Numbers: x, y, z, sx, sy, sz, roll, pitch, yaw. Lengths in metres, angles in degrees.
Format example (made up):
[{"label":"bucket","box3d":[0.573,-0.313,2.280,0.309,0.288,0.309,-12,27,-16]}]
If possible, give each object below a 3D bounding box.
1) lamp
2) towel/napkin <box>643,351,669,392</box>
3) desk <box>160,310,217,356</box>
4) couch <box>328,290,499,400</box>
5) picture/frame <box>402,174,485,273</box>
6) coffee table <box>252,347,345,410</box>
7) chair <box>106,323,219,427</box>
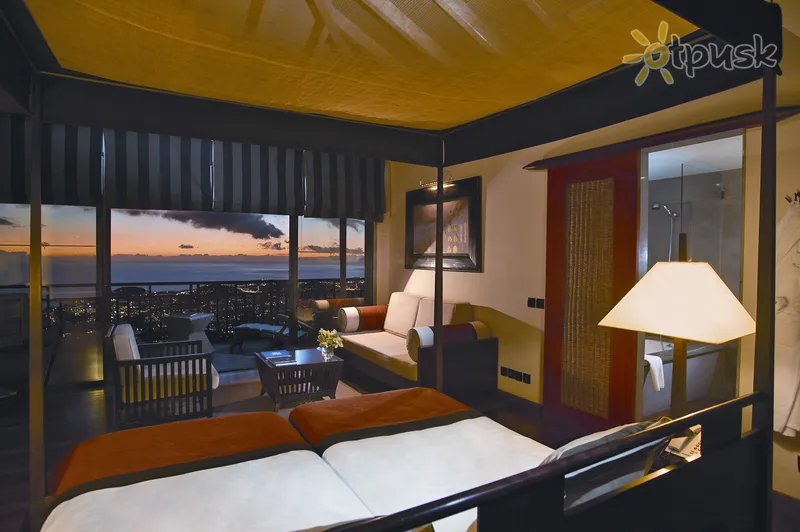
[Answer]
[{"label":"lamp","box3d":[1.786,0.390,3.612,0.838,1.306,0.861,4,4,40]},{"label":"towel/napkin","box3d":[2.095,0.864,4.571,0.114,0.302,0.310,-4,0,25]},{"label":"desk","box3d":[-2.624,0.729,7.007,0.661,0.636,0.675,-2,4,-38]},{"label":"couch","box3d":[0.061,0.882,6.287,0.957,1.014,2.038,-3,4,-30]},{"label":"picture/frame","box3d":[0.466,-0.460,6.560,0.040,0.996,1.337,2,-1,-36]},{"label":"coffee table","box3d":[-1.039,1.045,5.478,0.586,0.418,0.688,0,-3,-28]},{"label":"chair","box3d":[-2.182,0.950,5.185,0.959,0.734,0.957,0,2,-30]}]
